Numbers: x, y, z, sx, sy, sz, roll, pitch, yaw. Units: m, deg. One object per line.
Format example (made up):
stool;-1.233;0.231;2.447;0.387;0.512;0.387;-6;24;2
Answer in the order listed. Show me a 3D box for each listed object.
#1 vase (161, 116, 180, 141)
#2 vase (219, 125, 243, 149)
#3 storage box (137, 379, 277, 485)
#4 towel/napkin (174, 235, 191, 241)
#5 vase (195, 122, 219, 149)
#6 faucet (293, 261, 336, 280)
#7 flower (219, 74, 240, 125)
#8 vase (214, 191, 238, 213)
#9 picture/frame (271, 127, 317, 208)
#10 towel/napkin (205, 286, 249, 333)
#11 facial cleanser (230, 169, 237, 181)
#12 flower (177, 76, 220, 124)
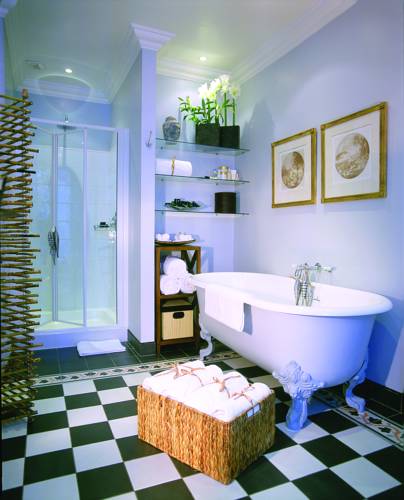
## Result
vase;-0.268;-1.050;3.288;0.145;0.214;0.126;0;2;-10
vase;0.260;-1.044;3.516;0.206;0.208;0.092;0;2;-11
storage box;0.080;0.722;1.556;0.390;0.202;0.291;3;5;44
towel/napkin;-0.161;-0.108;3.243;0.169;0.066;0.107;-1;3;-26
vase;0.074;-1.014;3.521;0.285;0.315;0.167;1;6;12
faucet;0.711;0.134;2.463;0.159;0.092;0.208;-4;5;-41
flower;0.256;-1.426;3.530;0.173;0.512;0.509;1;2;5
vase;0.231;-0.449;3.583;0.189;0.212;0.180;0;2;8
picture/frame;0.713;-0.621;2.847;0.053;0.716;0.623;-1;2;-22
towel/napkin;0.147;0.357;2.287;0.058;0.159;0.301;-4;9;-18
facial cleanser;0.312;-0.710;3.593;0.067;0.109;0.150;1;2;9
flower;-0.015;-1.306;3.507;0.400;0.468;0.427;-8;13;-24
